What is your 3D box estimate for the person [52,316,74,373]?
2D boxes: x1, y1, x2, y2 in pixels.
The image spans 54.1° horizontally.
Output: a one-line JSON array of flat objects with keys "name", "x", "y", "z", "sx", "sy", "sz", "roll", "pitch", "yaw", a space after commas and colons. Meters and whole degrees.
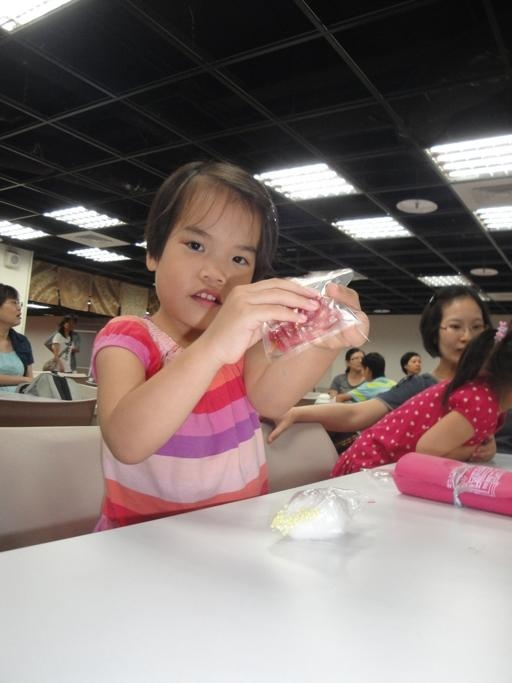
[{"name": "person", "x": -3.155, "y": 0.066, "z": 8.156, "sx": 0.387, "sy": 0.879, "sz": 1.186, "roll": 3, "pitch": -3, "yaw": -22}]

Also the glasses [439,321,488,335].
[{"name": "glasses", "x": 0.759, "y": -0.045, "z": 1.836, "sx": 0.095, "sy": 0.027, "sz": 0.092, "roll": 2, "pitch": -25, "yaw": 3}]

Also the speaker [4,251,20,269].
[{"name": "speaker", "x": -4.154, "y": -1.376, "z": 8.463, "sx": 0.119, "sy": 0.314, "sz": 0.332, "roll": 2, "pitch": -4, "yaw": 15}]

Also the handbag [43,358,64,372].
[{"name": "handbag", "x": -3.246, "y": 0.387, "z": 8.024, "sx": 0.181, "sy": 0.230, "sz": 0.318, "roll": 9, "pitch": -5, "yaw": -14}]
